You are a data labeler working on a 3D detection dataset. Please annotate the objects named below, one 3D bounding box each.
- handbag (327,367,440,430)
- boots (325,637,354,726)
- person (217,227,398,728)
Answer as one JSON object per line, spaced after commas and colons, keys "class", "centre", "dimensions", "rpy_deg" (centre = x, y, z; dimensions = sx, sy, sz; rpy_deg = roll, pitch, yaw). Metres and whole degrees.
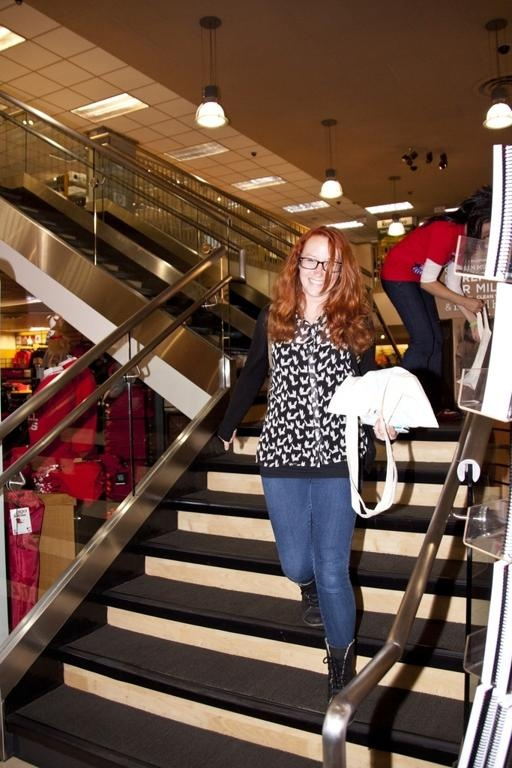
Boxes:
{"class": "handbag", "centre": [0.312, 0.009, 1.513], "dimensions": [0.100, 0.143, 0.195], "rpy_deg": [-47, 21, -22]}
{"class": "boots", "centre": [0.226, 0.809, 1.598], "dimensions": [0.078, 0.156, 0.228], "rpy_deg": [-5, -4, 10]}
{"class": "person", "centre": [0.162, 0.198, 1.713], "dimensions": [0.333, 1.304, 0.409], "rpy_deg": [4, 9, 11]}
